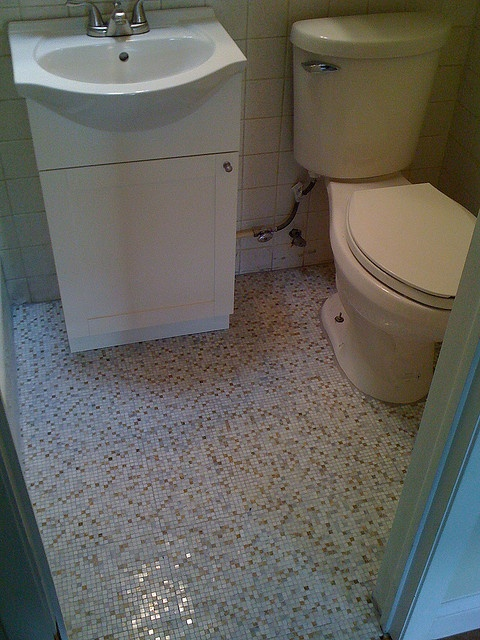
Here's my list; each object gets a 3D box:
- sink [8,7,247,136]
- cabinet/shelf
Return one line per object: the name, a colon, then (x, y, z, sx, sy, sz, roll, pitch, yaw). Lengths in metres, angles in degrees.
sink: (-0.268, -0.577, 1.216, 0.516, 0.170, 0.416, -10, 41, -13)
cabinet/shelf: (-0.243, -0.335, 1.568, 0.487, 0.732, 0.503, -12, 54, -11)
